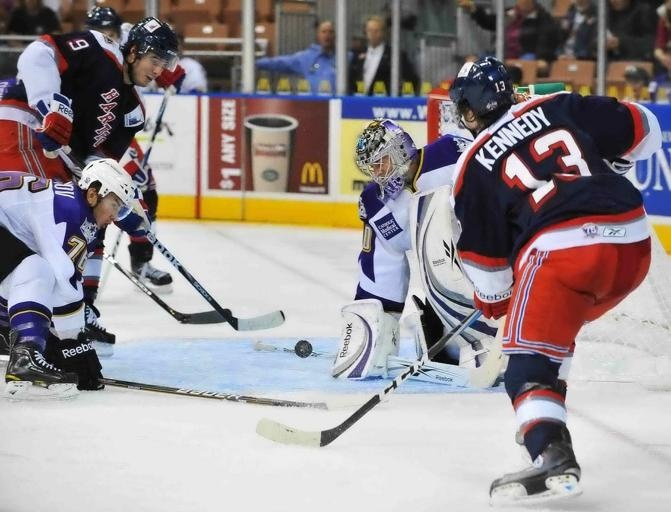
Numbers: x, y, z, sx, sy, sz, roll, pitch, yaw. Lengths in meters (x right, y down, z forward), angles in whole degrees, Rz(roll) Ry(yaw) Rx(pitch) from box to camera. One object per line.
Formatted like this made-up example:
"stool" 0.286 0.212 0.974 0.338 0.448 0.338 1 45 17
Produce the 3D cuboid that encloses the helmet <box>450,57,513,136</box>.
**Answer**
"helmet" 0.500 -0.545 3.347 0.157 0.268 0.226 -5 10 -36

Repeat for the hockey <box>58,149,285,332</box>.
"hockey" -0.809 0.032 5.042 0.535 0.081 1.532 -15 50 -41

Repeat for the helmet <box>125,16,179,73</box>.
"helmet" -0.830 -1.029 4.739 0.240 0.226 0.187 29 30 -10

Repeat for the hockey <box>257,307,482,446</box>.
"hockey" 0.164 0.509 4.054 0.672 0.115 0.115 -42 -5 -32

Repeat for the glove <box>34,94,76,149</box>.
"glove" -1.254 -0.618 4.491 0.104 0.228 0.177 4 -11 11

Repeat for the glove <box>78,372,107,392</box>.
"glove" -0.998 0.514 4.019 0.078 0.037 0.104 2 2 -7

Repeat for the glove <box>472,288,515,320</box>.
"glove" 0.547 0.159 3.420 0.087 0.107 0.059 3 5 12

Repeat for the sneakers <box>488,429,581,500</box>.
"sneakers" 0.638 0.687 3.139 0.362 0.243 0.134 -11 -9 30
